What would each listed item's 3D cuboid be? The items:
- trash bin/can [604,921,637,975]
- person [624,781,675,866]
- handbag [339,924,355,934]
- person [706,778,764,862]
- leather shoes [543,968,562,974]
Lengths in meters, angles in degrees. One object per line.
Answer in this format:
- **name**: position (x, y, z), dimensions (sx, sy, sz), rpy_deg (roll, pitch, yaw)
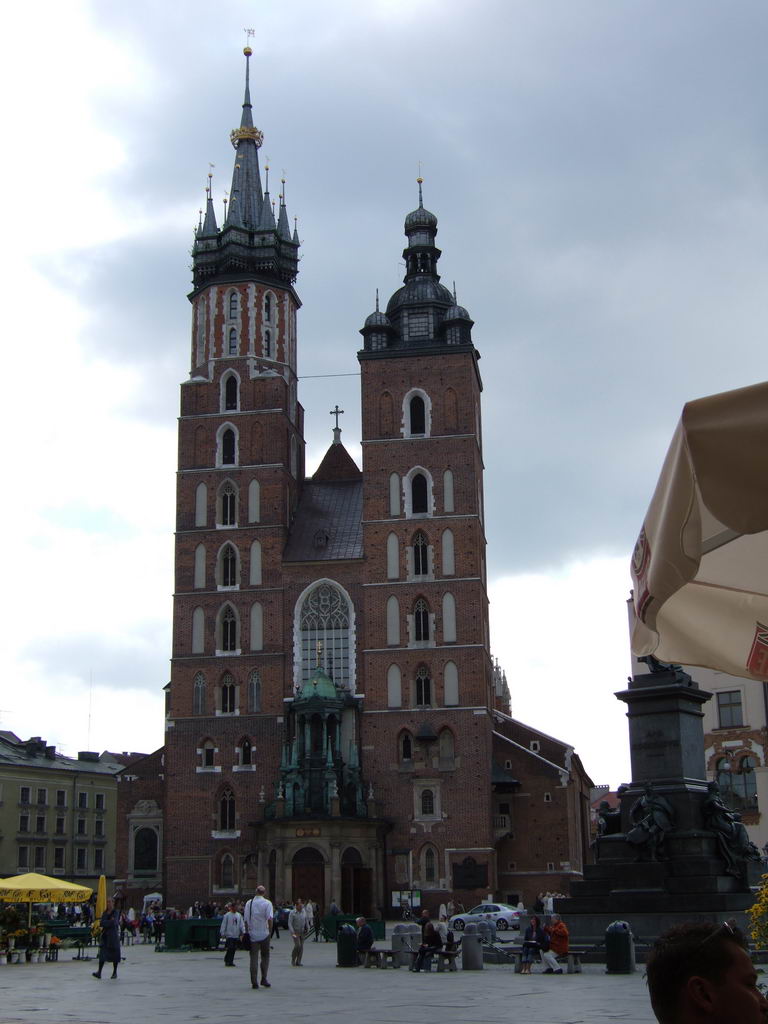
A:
- **trash bin/can**: position (3.366, 6.238, 21.066), dimensions (0.382, 0.713, 0.590), rpy_deg (-1, -16, 5)
- **person**: position (4.226, 5.013, 23.606), dimensions (0.725, 1.110, 0.416), rpy_deg (-7, -18, 25)
- **handbag**: position (-0.609, 7.308, 25.903), dimensions (0.242, 0.228, 0.341), rpy_deg (2, -25, -5)
- **person**: position (5.519, 4.984, 23.720), dimensions (0.580, 1.242, 1.001), rpy_deg (6, -17, -19)
- **leather shoes**: position (2.540, 6.917, 22.181), dimensions (0.255, 0.082, 0.681), rpy_deg (-1, -16, 6)
